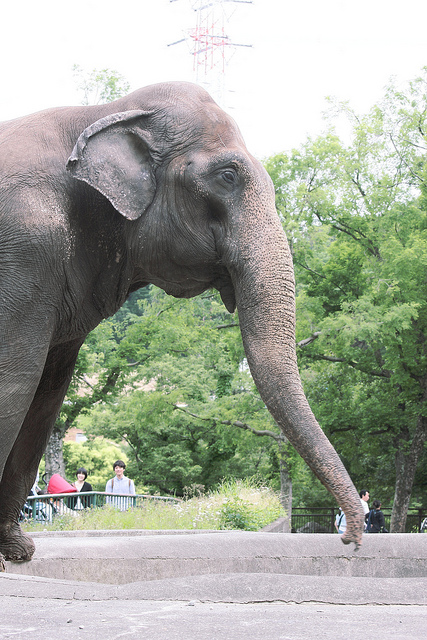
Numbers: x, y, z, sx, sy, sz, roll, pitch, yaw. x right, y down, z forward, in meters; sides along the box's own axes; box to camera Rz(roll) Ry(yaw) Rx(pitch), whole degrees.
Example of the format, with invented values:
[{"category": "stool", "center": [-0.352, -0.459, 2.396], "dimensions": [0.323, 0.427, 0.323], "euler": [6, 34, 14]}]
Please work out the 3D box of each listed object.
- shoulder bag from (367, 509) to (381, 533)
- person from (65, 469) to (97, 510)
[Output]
[{"category": "shoulder bag", "center": [2.289, 2.941, 12.946], "dimensions": [0.256, 0.270, 0.314], "euler": [0, -9, 9]}, {"category": "person", "center": [-2.153, 2.865, 14.270], "dimensions": [0.459, 0.949, 0.422], "euler": [3, -13, -9]}]
